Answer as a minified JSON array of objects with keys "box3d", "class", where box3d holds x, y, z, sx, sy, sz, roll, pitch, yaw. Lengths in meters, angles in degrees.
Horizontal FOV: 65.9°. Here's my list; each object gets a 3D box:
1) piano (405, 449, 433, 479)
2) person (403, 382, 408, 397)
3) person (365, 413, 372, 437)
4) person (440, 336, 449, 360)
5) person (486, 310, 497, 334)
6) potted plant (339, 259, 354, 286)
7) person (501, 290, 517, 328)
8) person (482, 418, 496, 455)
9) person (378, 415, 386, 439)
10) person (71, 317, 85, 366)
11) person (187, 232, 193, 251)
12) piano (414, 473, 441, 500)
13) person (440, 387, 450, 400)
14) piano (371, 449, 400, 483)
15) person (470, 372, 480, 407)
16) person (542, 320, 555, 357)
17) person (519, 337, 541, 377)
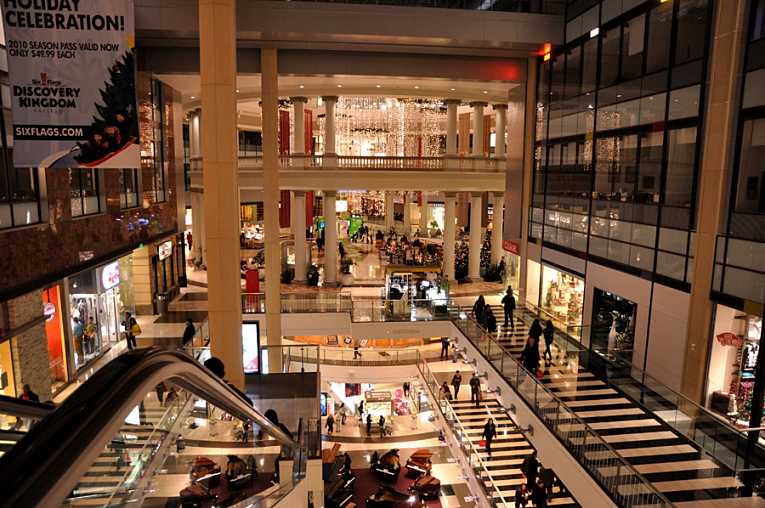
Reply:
[{"box3d":[1.509,8.821,24.552,1.007,0.760,1.447,1,6,3],"class":"piano"},{"box3d":[1.247,7.076,30.916,0.311,0.928,0.542,0,6,-1],"class":"person"},{"box3d":[-0.676,8.121,28.341,0.340,1.010,0.647,0,6,-4],"class":"person"},{"box3d":[3.203,4.736,30.179,0.459,1.220,1.320,1,6,5],"class":"person"},{"box3d":[4.200,2.593,22.780,0.515,0.803,0.553,-3,7,-31],"class":"person"},{"box3d":[-2.025,0.995,32.520,0.702,1.304,2.307,0,6,-5],"class":"potted plant"},{"box3d":[4.784,2.054,22.501,0.420,1.647,1.339,2,6,12],"class":"person"},{"box3d":[3.920,6.563,21.576,0.394,1.375,1.294,1,6,8],"class":"person"},{"box3d":[-0.035,8.132,28.141,0.325,1.011,0.496,0,6,-1],"class":"person"},{"box3d":[-10.500,2.964,20.334,0.279,1.608,0.635,-3,7,-29],"class":"person"},{"box3d":[-14.488,-0.937,44.087,0.340,1.217,1.085,-3,7,-25],"class":"person"},{"box3d":[1.743,9.212,23.226,0.698,0.845,0.900,4,2,22],"class":"piano"},{"box3d":[2.693,6.014,25.547,0.287,0.748,0.481,-6,3,23],"class":"person"},{"box3d":[0.143,8.698,24.338,0.737,0.924,1.302,0,-8,12],"class":"piano"},{"box3d":[4.097,5.910,26.054,0.383,1.478,0.963,1,6,8],"class":"person"},{"box3d":[5.558,2.845,19.782,0.368,1.201,1.024,2,7,17],"class":"person"},{"box3d":[4.713,3.203,18.741,0.545,1.218,1.126,2,6,15],"class":"person"}]
